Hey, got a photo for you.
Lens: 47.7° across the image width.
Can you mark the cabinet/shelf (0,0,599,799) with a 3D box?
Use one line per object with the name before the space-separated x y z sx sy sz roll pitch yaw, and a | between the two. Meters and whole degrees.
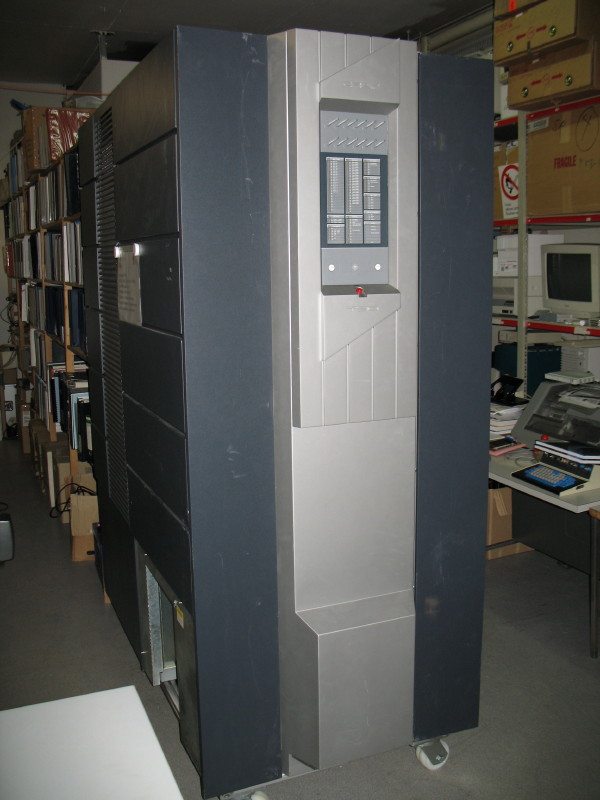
cabinet/shelf | 0.070 0.062 1.762 0.936 1.874 0.474 -2 6 -13
